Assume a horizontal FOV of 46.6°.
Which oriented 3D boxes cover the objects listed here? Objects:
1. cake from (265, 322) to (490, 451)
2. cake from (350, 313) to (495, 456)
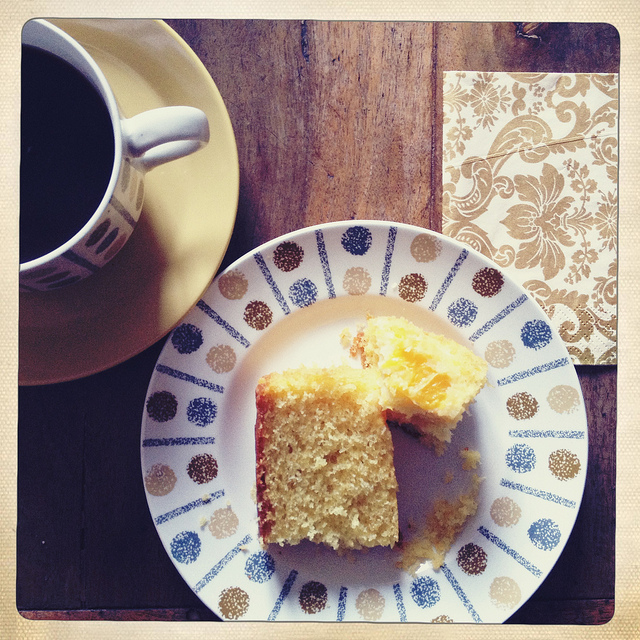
[{"bbox_3d":[0.072,0.171,1.330,0.435,0.149,0.144,8,74,-36],"label":"cake"},{"bbox_3d":[0.178,0.107,1.379,0.246,0.139,0.194,28,85,6],"label":"cake"}]
